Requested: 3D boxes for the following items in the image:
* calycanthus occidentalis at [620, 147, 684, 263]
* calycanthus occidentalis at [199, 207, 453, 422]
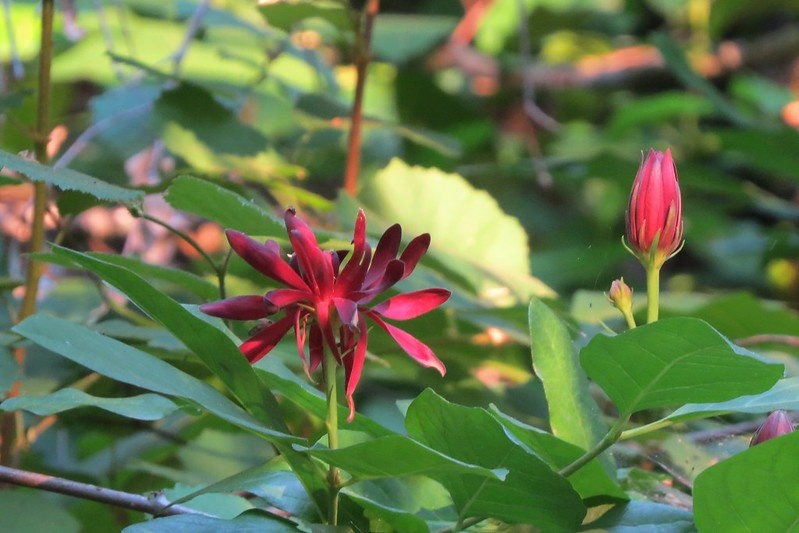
[{"bbox_3d":[0.324,-0.067,1.229,0.073,0.176,0.102,10,34,15],"label":"calycanthus occidentalis"},{"bbox_3d":[-0.078,0.063,1.151,0.260,0.214,0.254,0,-2,6],"label":"calycanthus occidentalis"}]
